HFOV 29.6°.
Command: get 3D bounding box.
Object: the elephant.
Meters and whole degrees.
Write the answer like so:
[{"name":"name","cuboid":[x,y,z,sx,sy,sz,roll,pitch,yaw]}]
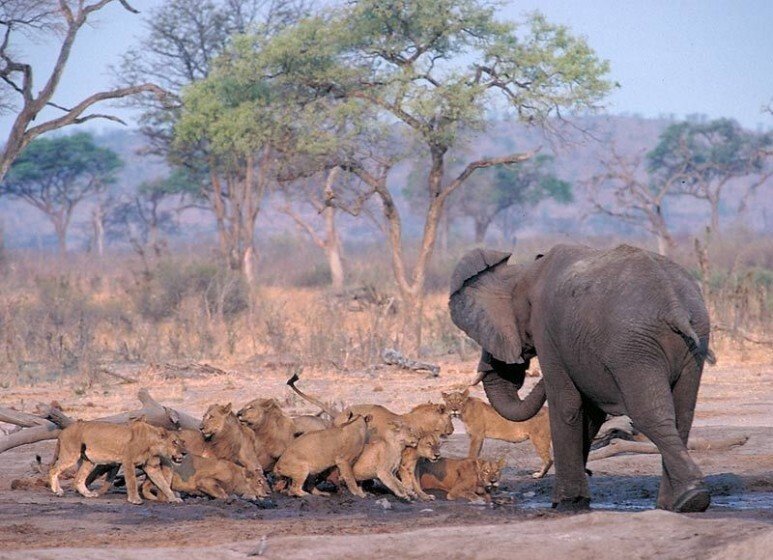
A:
[{"name":"elephant","cuboid":[4.035,1.924,29.815,3.202,5.339,6.998,-3,-1,-36]}]
